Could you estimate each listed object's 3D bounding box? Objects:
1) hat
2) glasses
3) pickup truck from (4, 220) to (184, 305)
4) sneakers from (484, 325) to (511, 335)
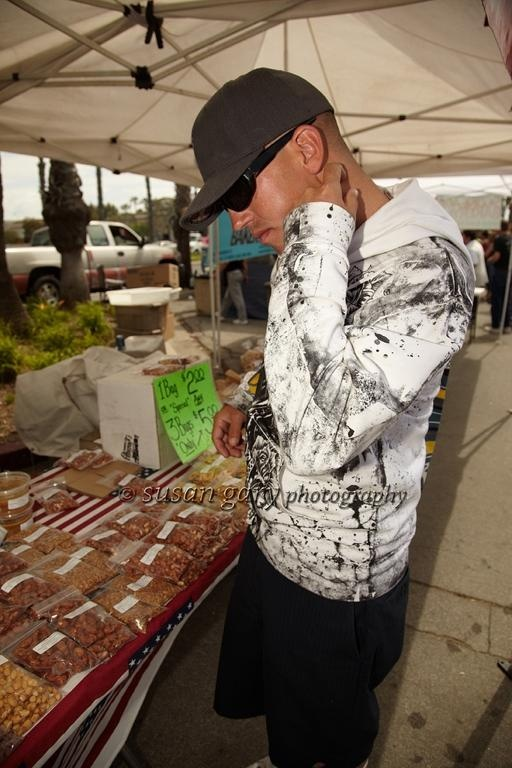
[{"bbox_3d":[-0.005,-0.500,1.266,0.366,0.189,0.262,-36,20,7],"label":"hat"},{"bbox_3d":[0.000,-0.435,1.220,0.214,0.059,0.159,-43,3,11],"label":"glasses"},{"bbox_3d":[-3.610,-2.648,11.960,1.676,1.357,3.637,14,27,35],"label":"pickup truck"},{"bbox_3d":[4.666,-1.034,10.936,0.465,0.196,0.161,4,17,45],"label":"sneakers"}]
